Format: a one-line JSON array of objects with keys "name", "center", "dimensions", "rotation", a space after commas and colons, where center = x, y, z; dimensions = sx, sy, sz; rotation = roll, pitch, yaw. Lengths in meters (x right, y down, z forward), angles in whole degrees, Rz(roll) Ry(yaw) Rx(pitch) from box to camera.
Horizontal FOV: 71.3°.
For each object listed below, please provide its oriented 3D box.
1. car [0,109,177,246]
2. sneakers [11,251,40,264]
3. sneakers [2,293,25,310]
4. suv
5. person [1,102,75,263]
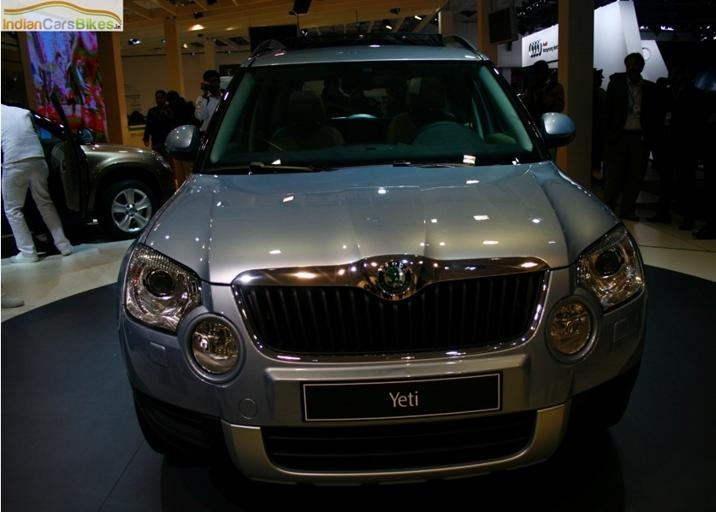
[{"name": "car", "center": [-3.070, -0.881, 6.132], "dimensions": [2.533, 1.298, 1.532], "rotation": [1, 6, -15]}, {"name": "sneakers", "center": [-3.729, 0.019, 5.587], "dimensions": [0.289, 0.132, 0.142], "rotation": [4, 8, -8]}, {"name": "sneakers", "center": [-2.921, 0.392, 4.207], "dimensions": [0.177, 0.067, 0.136], "rotation": [2, 9, 9]}, {"name": "suv", "center": [0.043, -0.450, 2.812], "dimensions": [1.511, 1.425, 2.807], "rotation": [-2, 13, 0]}, {"name": "person", "center": [-3.532, -0.750, 5.356], "dimensions": [0.508, 1.694, 0.486], "rotation": [-11, 16, -32]}]
